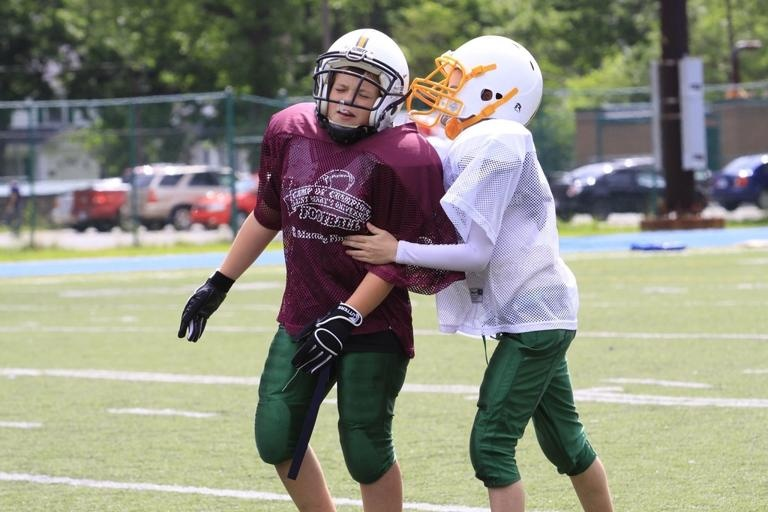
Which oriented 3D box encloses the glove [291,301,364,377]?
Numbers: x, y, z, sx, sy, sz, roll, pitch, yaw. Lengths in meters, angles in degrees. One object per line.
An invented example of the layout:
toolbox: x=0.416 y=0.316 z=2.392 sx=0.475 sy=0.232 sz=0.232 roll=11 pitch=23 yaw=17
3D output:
glove: x=-0.292 y=0.429 z=6.248 sx=0.458 sy=0.251 sz=0.148 roll=-41 pitch=-1 yaw=-4

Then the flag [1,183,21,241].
flag: x=-2.535 y=-0.329 z=8.104 sx=0.119 sy=0.355 sz=0.207 roll=-3 pitch=10 yaw=-17

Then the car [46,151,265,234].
car: x=-2.898 y=-0.800 z=15.918 sx=2.001 sy=0.559 sz=0.864 roll=-6 pitch=6 yaw=-28

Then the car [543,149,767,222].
car: x=3.200 y=-0.647 z=12.985 sx=2.157 sy=0.599 sz=0.921 roll=-6 pitch=6 yaw=-7
